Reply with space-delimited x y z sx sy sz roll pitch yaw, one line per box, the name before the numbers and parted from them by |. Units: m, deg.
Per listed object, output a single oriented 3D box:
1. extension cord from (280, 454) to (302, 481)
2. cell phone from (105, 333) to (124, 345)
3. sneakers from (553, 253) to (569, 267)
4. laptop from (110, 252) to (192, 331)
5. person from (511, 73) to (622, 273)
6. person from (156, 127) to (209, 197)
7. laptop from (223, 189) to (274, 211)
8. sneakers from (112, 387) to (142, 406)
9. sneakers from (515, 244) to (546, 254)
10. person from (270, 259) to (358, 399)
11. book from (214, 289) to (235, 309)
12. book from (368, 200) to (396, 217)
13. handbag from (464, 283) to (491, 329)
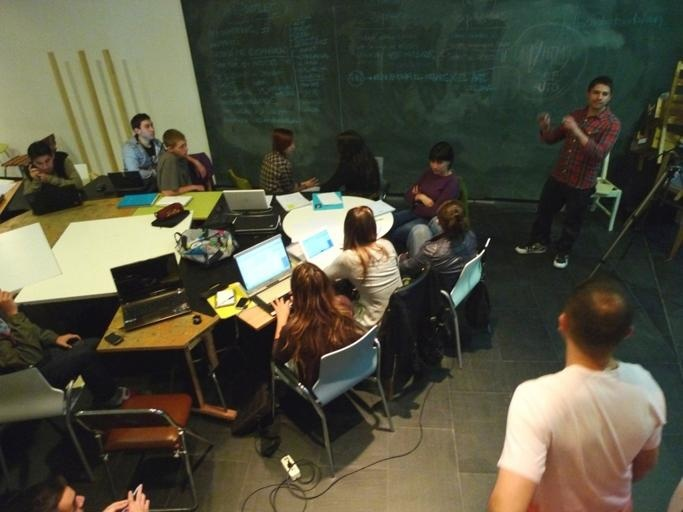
extension cord | -0.382 1.602 4.068 0.101 0.065 0.190 -31 40 -17
cell phone | -1.734 0.635 4.074 0.141 0.044 0.094 13 30 24
sneakers | 2.294 0.057 5.552 0.080 0.097 0.223 18 42 28
laptop | -1.547 0.258 4.348 0.654 0.424 0.568 -18 43 -12
person | 2.320 -0.867 5.432 0.571 1.865 0.730 -24 35 -39
person | -1.819 -1.062 6.041 0.483 0.662 0.797 7 56 -9
laptop | -0.937 -0.561 5.301 0.331 0.245 0.243 1 47 -1
sneakers | -1.723 1.128 4.266 0.104 0.042 0.146 -1 33 -5
sneakers | 2.066 -0.081 5.844 0.321 0.136 0.123 1 48 6
person | -0.204 0.560 3.909 0.523 0.988 0.633 -23 58 -12
book | -0.944 0.338 4.343 0.124 0.033 0.134 -11 45 -10
book | 0.405 -0.485 5.321 0.184 0.048 0.199 -15 40 -18
handbag | 1.201 0.446 4.703 0.232 0.409 0.191 11 42 20
